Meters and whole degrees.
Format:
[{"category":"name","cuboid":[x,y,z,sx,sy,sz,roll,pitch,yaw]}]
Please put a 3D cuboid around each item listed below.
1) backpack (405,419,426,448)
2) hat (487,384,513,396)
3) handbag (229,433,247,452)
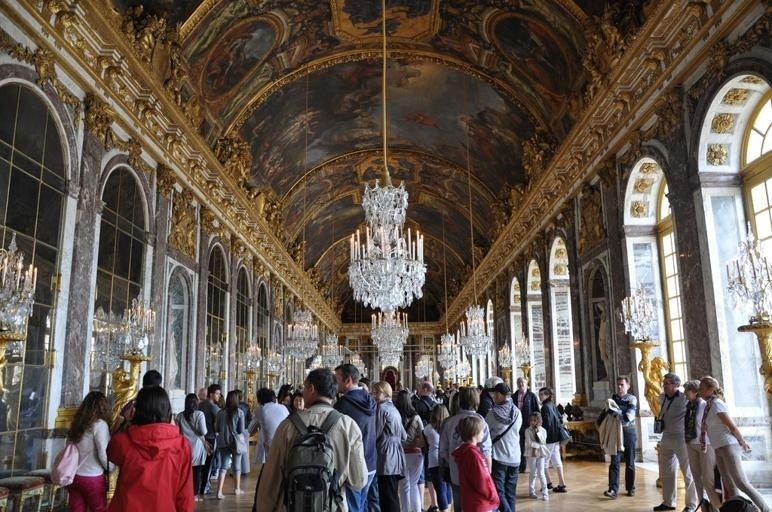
[{"category":"backpack","cuboid":[0.493,3.059,9.711,0.324,0.631,0.654,-2,-19,1]},{"category":"hat","cuboid":[1.825,2.191,9.387,0.222,0.135,0.349,10,-11,-42]},{"category":"handbag","cuboid":[-3.229,4.059,12.359,0.106,0.418,0.382,-20,-26,17]}]
